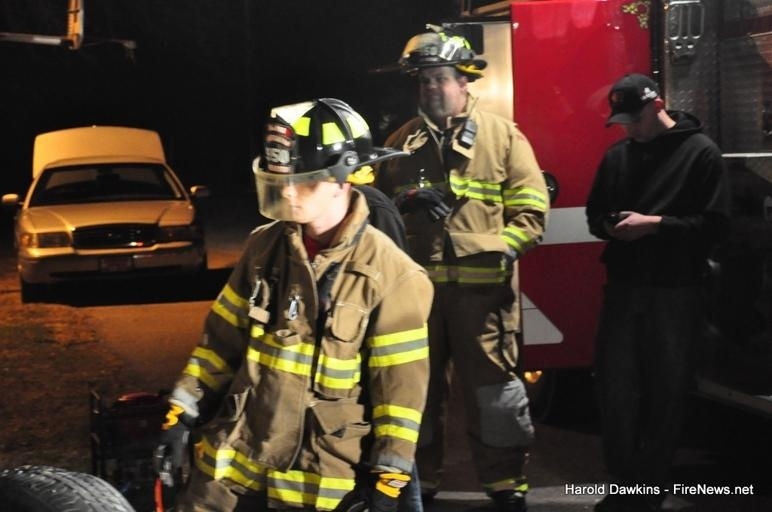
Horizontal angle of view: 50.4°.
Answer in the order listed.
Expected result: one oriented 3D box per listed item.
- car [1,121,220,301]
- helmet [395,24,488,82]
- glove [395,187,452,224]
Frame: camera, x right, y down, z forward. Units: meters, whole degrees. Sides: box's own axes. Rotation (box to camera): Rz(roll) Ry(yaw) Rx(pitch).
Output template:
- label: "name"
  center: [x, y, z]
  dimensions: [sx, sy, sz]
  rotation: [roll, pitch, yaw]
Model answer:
- label: "car"
  center: [-3.335, -0.660, 9.784]
  dimensions: [1.749, 1.194, 2.748]
  rotation: [-4, 5, -16]
- label: "helmet"
  center: [0.421, -1.449, 5.760]
  dimensions: [0.454, 0.290, 0.648]
  rotation: [10, 5, 43]
- label: "glove"
  center: [0.249, -0.344, 5.388]
  dimensions: [0.302, 0.221, 0.089]
  rotation: [35, -9, 13]
